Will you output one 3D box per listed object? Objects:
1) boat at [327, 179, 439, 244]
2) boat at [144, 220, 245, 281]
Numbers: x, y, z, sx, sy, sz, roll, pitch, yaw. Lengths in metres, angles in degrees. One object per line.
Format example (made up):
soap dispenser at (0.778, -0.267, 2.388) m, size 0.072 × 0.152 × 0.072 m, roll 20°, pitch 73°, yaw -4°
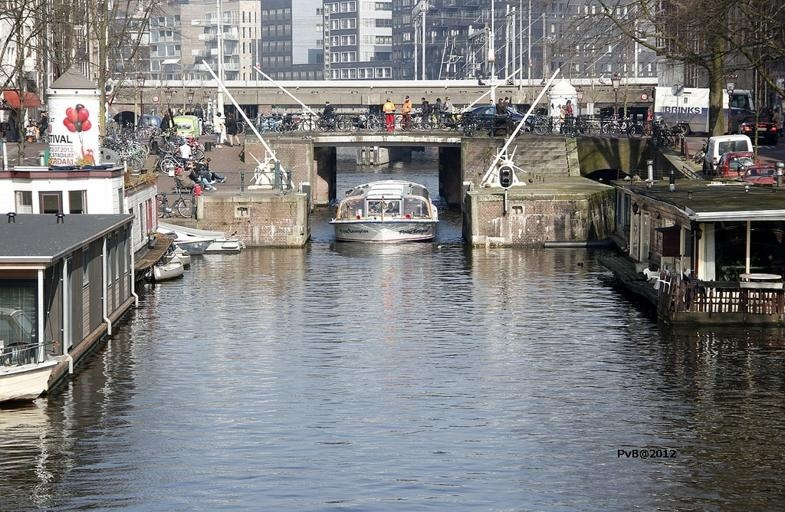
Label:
boat at (-0.337, -2.417, 88.194) m, size 5.592 × 3.245 × 3.721 m, roll -1°, pitch 5°, yaw 0°
boat at (-9.960, -0.140, 77.945) m, size 3.682 × 2.884 × 8.276 m, roll 1°, pitch -1°, yaw -7°
